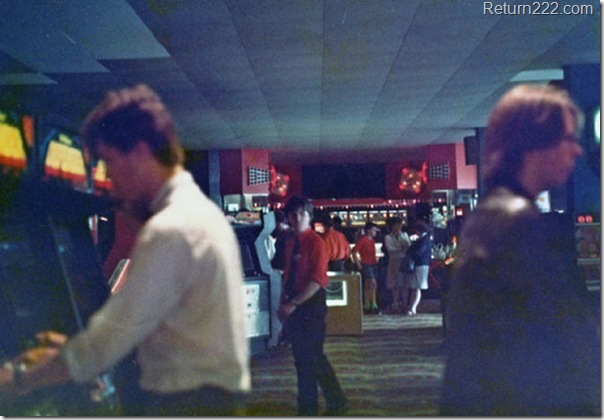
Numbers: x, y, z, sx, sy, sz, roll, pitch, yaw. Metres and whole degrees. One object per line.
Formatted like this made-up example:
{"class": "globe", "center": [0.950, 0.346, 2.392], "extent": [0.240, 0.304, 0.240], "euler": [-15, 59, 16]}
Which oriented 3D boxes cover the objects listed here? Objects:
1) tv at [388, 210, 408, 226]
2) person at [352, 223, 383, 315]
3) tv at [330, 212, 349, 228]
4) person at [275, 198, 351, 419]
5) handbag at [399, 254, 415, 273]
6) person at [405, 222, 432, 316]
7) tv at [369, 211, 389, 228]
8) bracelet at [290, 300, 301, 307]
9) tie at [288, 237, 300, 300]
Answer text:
{"class": "tv", "center": [2.192, 0.178, 11.344], "extent": [0.436, 0.224, 0.299], "euler": [0, 38, -4]}
{"class": "person", "center": [1.003, 0.869, 7.919], "extent": [0.358, 1.093, 1.175], "euler": [-2, 0, 7]}
{"class": "tv", "center": [0.813, 0.209, 10.654], "extent": [0.427, 0.370, 0.216], "euler": [1, -5, -21]}
{"class": "person", "center": [0.028, 0.676, 3.602], "extent": [0.354, 1.330, 0.461], "euler": [-2, 1, 0]}
{"class": "handbag", "center": [1.465, 0.757, 7.028], "extent": [0.116, 0.254, 0.262], "euler": [6, -9, -10]}
{"class": "person", "center": [1.710, 0.824, 7.459], "extent": [0.343, 1.031, 1.177], "euler": [-2, 0, 11]}
{"class": "tv", "center": [1.994, 0.243, 13.034], "extent": [0.421, 0.386, 0.298], "euler": [1, -8, -1]}
{"class": "bracelet", "center": [-0.042, 0.645, 3.471], "extent": [0.066, 0.036, 0.017], "euler": [-2, 1, 4]}
{"class": "tie", "center": [-0.047, 0.400, 3.587], "extent": [0.123, 0.622, 0.072], "euler": [15, 44, 13]}
